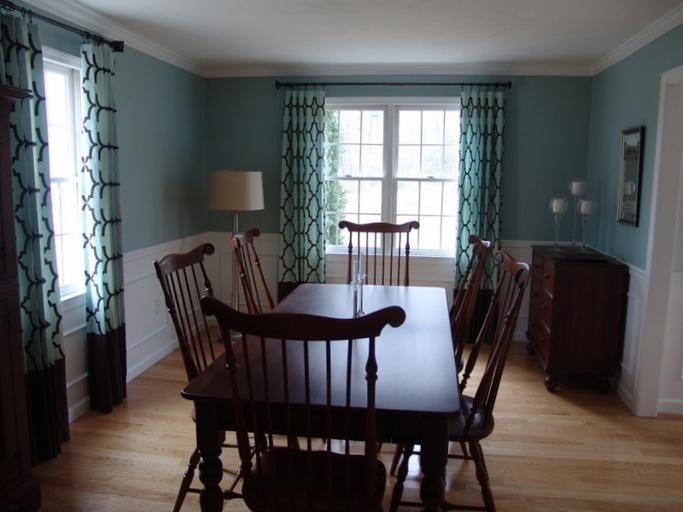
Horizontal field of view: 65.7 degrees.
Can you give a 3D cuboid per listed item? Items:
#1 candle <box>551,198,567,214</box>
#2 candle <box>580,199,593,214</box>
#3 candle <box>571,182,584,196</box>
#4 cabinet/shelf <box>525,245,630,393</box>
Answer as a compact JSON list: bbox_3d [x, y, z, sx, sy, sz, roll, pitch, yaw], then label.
[{"bbox_3d":[2.045,-0.465,4.997,0.141,0.168,0.151,2,5,22],"label":"candle"},{"bbox_3d":[2.252,-0.450,4.857,0.108,0.200,0.118,1,0,10],"label":"candle"},{"bbox_3d":[2.201,-0.628,4.983,0.113,0.148,0.120,1,1,-12],"label":"candle"},{"bbox_3d":[2.074,0.516,4.703,0.639,1.183,0.702,1,11,5],"label":"cabinet/shelf"}]
